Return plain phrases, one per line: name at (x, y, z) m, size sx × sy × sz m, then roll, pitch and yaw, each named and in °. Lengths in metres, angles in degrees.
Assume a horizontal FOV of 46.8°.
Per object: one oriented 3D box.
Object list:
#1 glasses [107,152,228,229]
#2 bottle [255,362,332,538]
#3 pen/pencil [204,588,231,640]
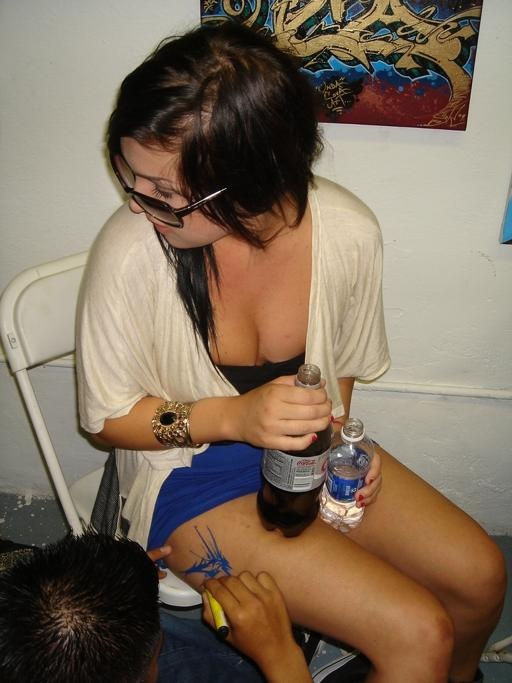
glasses at (-0.142, -0.200, 0.866) m, size 0.125 × 0.038 × 0.134 m, roll 39°, pitch 58°, yaw 22°
bottle at (0.054, 0.164, 0.898) m, size 0.117 × 0.331 × 0.166 m, roll 2°, pitch 34°, yaw 5°
pen/pencil at (-0.057, 0.402, 0.885) m, size 0.018 × 0.021 × 0.080 m, roll -22°, pitch 74°, yaw -3°
